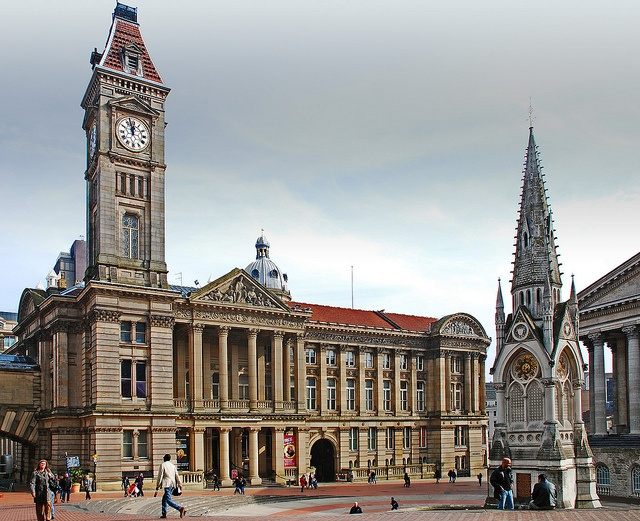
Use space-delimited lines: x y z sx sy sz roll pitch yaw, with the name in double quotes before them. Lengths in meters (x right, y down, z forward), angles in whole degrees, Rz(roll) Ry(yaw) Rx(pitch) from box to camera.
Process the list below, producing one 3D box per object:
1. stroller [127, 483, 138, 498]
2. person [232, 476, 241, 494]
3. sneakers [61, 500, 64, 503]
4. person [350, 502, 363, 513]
"stroller" -15.745 19.158 122.012 1.302 1.314 0.865 2 -36 -12
"person" -7.357 19.861 128.817 0.519 1.569 1.406 2 -14 -9
"sneakers" -21.129 19.639 118.776 0.169 0.201 0.211 -1 -1 -17
"person" 2.873 19.591 115.018 0.947 1.140 1.393 3 -4 2
